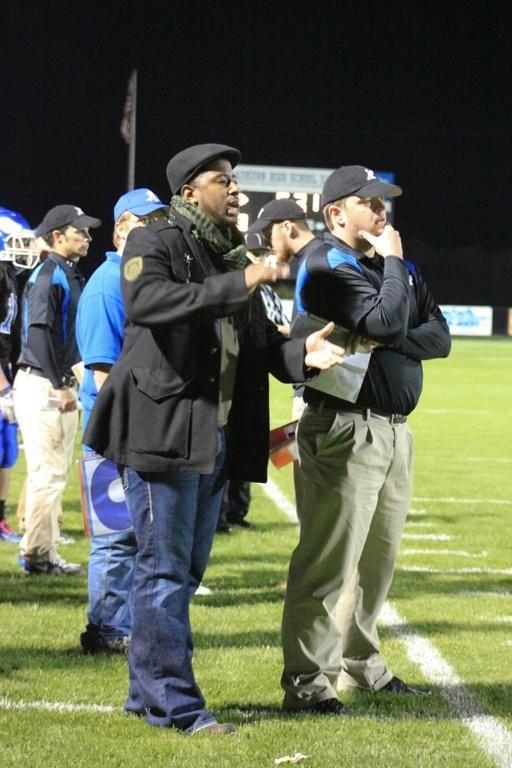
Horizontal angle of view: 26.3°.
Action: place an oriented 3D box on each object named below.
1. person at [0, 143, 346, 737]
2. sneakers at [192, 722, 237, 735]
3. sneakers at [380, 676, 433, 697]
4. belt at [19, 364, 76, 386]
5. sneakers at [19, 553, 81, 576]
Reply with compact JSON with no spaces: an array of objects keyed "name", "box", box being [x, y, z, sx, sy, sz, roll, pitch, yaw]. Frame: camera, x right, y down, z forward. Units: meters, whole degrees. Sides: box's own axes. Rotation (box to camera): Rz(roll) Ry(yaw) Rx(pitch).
[{"name":"person","box":[-0.157,0.178,3.519,0.637,1.917,0.601,-1,4,-36]},{"name":"sneakers","box":[-0.139,1.094,3.510,0.151,0.053,0.047,7,-9,-13]},{"name":"sneakers","box":[0.540,1.125,4.105,0.223,0.077,0.068,0,1,-6]},{"name":"belt","box":[-1.113,-0.041,6.040,0.172,0.039,0.151,15,-2,10]},{"name":"sneakers","box":[-1.123,0.996,5.985,0.379,0.140,0.112,0,44,-15]}]
